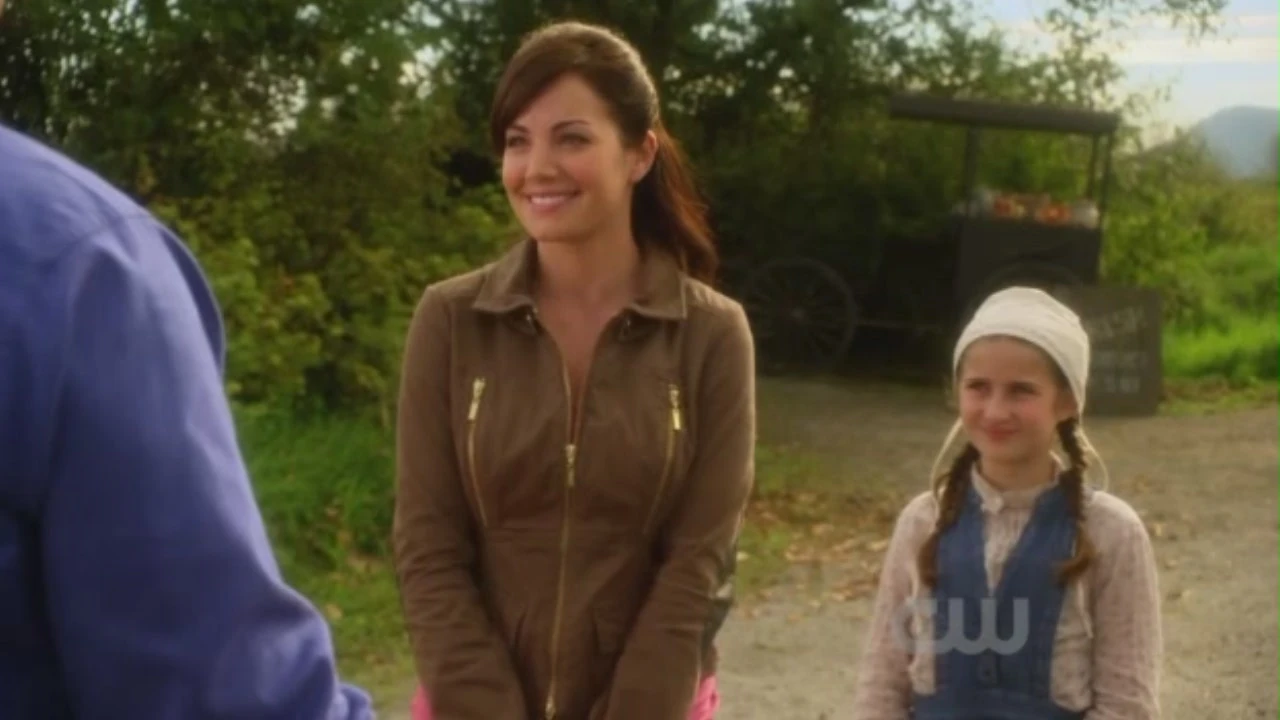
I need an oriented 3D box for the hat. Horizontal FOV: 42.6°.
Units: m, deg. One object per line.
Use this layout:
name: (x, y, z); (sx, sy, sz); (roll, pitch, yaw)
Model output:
hat: (1.801, -0.106, 7.678); (0.556, 0.448, 0.599); (6, -18, 27)
